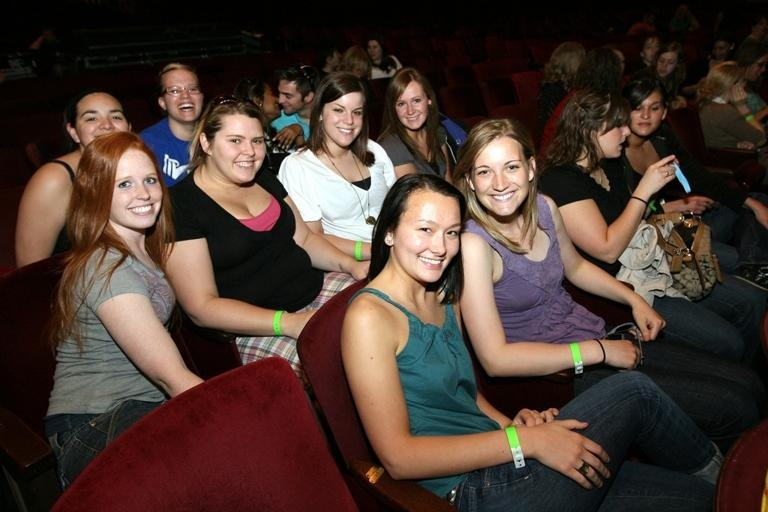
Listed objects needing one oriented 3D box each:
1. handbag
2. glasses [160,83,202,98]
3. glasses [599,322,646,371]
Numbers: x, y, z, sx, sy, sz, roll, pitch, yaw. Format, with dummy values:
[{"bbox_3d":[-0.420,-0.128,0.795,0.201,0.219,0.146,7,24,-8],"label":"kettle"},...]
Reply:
[{"bbox_3d":[1.611,-0.003,2.816,0.345,0.424,0.284,-5,21,7],"label":"handbag"},{"bbox_3d":[-1.251,-1.020,3.205,0.230,0.069,0.107,-16,23,-22],"label":"glasses"},{"bbox_3d":[1.131,0.410,2.433,0.168,0.201,0.134,-2,21,13],"label":"glasses"}]
